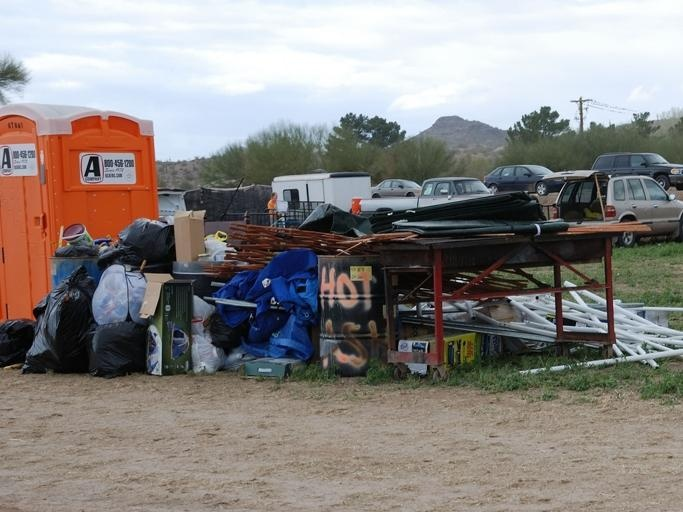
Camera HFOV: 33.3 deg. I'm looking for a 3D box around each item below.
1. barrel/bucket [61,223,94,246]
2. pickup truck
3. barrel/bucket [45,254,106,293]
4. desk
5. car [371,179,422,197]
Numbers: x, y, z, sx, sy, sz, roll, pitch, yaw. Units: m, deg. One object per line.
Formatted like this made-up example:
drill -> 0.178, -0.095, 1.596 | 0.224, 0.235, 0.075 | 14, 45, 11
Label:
barrel/bucket -> -3.562, -0.281, 15.182 | 0.229, 0.201, 0.314 | 10, -23, 16
pickup truck -> 2.312, -1.586, 29.850 | 3.732, 1.172, 1.596 | -3, 3, 14
barrel/bucket -> -3.505, 0.162, 14.878 | 0.764, 0.503, 0.413 | 0, -2, -7
desk -> 1.978, 0.579, 14.246 | 3.476, 1.540, 1.158 | -3, 3, -39
car -> 1.921, -2.361, 40.369 | 2.223, 0.660, 0.916 | -2, 4, 31
